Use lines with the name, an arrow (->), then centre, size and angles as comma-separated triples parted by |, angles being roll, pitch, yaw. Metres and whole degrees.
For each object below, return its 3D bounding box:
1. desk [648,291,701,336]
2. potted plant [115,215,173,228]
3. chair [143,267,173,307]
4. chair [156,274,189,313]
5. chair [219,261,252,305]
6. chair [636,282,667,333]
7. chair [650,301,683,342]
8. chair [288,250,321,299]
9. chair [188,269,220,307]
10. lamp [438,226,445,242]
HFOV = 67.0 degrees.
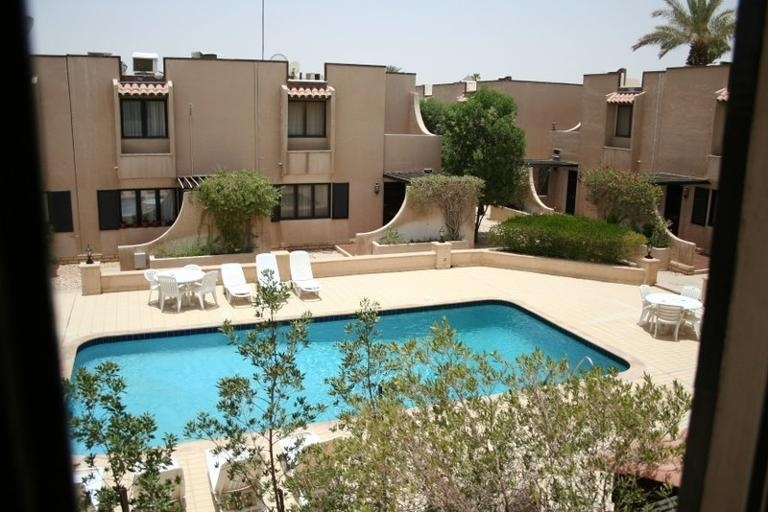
desk -> 8.016, 1.467, 15.908 | 1.336, 0.960, 1.363 | -4, 8, -31
potted plant -> -10.123, -1.489, 24.634 | 2.056, 0.526, 0.325 | -6, 9, -27
chair -> -7.041, 1.002, 17.954 | 0.990, 1.358, 0.983 | -3, 9, -35
chair -> -6.292, 1.050, 17.154 | 1.016, 1.056, 0.779 | 4, 9, 38
chair -> -4.648, 0.852, 18.272 | 0.664, 0.839, 2.016 | -4, 20, -17
chair -> 7.531, 1.383, 16.435 | 0.680, 1.003, 0.715 | -10, 3, -22
chair -> 7.792, 1.621, 15.981 | 0.771, 1.203, 0.864 | 0, 31, 16
chair -> -2.600, 0.630, 19.026 | 0.741, 1.483, 1.988 | -2, 1, -20
chair -> -5.443, 0.907, 17.488 | 0.790, 1.197, 0.612 | 20, 22, 35
lamp -> 2.543, -1.003, 25.391 | 0.259, 0.680, 0.731 | -1, 8, 7
